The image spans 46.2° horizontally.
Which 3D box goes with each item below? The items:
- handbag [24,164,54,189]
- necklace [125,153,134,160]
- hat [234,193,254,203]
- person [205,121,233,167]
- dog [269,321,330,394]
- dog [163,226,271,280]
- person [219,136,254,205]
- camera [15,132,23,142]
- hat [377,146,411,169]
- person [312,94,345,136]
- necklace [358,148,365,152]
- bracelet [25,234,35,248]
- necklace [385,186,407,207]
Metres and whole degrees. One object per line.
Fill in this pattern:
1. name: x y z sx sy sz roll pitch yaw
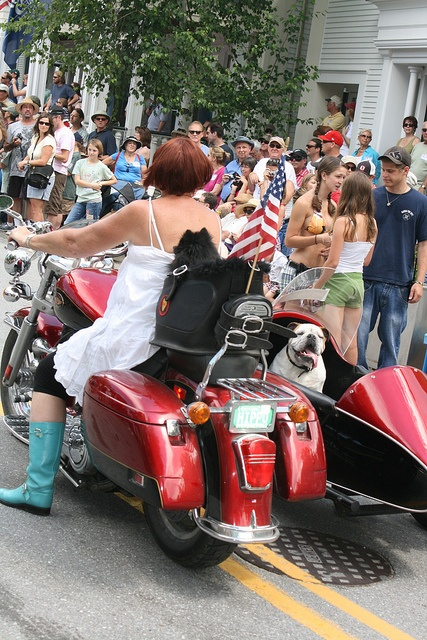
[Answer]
1. handbag: -3.477 -2.879 10.064 0.475 0.571 0.339 17 -1 5
2. necklace: -1.747 -3.430 10.538 0.150 0.136 0.036 7 41 -15
3. hat: 0.435 -1.844 7.506 0.197 0.127 0.267 -3 8 -21
4. person: 0.161 -3.535 10.663 0.525 1.224 0.494 -10 8 -24
5. dog: 0.530 0.280 3.125 0.379 0.497 0.587 12 -4 9
6. dog: -0.010 -0.247 1.848 0.389 0.179 0.227 9 -4 35
7. person: 0.662 -2.917 9.596 0.576 1.506 0.536 16 -37 -14
8. camera: -4.165 -3.924 10.752 0.142 0.171 0.066 4 -8 15
9. hat: 1.825 -1.609 4.981 0.288 0.149 0.195 21 8 -32
10. person: 3.148 -5.464 13.523 0.708 1.053 0.762 -11 23 -13
11. necklace: 3.252 -3.705 10.940 0.141 0.126 0.041 -2 -9 29
12. bracelet: -0.852 -0.364 2.322 0.064 0.058 0.064 -2 2 -5
13. necklace: 1.865 -1.270 5.152 0.105 0.162 0.167 21 -16 -28
